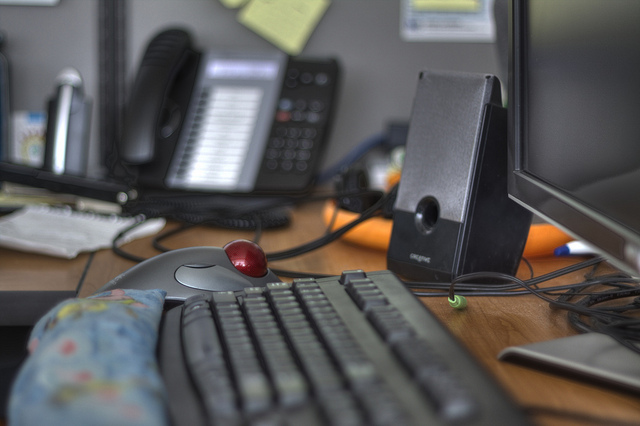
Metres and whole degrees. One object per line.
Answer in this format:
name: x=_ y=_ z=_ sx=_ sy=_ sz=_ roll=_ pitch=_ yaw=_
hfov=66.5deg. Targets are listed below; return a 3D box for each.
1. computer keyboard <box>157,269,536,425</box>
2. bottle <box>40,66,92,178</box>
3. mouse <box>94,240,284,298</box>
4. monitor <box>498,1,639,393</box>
computer keyboard: x=0.039 y=0.105 z=0.512 sx=0.272 sy=0.073 sz=0.342 roll=1 pitch=10 yaw=-8
bottle: x=-0.464 y=-0.180 z=0.961 sx=0.094 sy=0.265 sz=0.101 roll=-6 pitch=-28 yaw=-3
mouse: x=-0.154 y=0.070 z=0.581 sx=0.136 sy=0.042 sz=0.090 roll=1 pitch=0 yaw=-1
monitor: x=0.281 y=-0.105 z=0.544 sx=0.032 sy=0.272 sz=0.273 roll=2 pitch=15 yaw=-18
